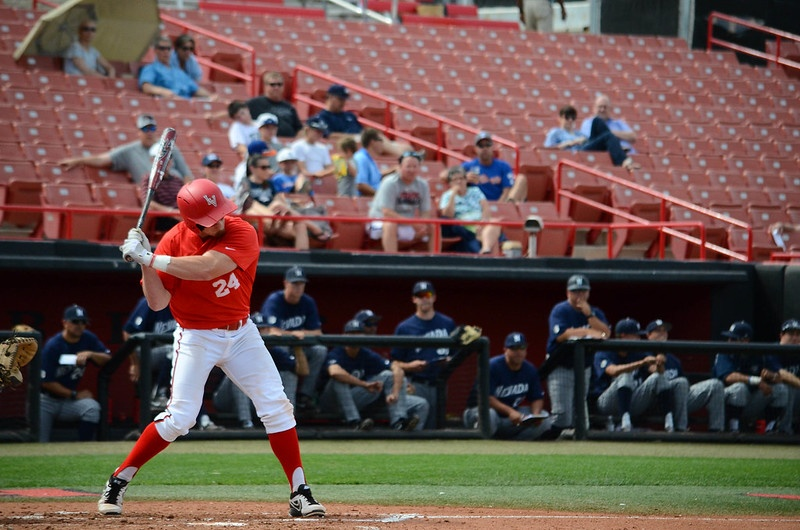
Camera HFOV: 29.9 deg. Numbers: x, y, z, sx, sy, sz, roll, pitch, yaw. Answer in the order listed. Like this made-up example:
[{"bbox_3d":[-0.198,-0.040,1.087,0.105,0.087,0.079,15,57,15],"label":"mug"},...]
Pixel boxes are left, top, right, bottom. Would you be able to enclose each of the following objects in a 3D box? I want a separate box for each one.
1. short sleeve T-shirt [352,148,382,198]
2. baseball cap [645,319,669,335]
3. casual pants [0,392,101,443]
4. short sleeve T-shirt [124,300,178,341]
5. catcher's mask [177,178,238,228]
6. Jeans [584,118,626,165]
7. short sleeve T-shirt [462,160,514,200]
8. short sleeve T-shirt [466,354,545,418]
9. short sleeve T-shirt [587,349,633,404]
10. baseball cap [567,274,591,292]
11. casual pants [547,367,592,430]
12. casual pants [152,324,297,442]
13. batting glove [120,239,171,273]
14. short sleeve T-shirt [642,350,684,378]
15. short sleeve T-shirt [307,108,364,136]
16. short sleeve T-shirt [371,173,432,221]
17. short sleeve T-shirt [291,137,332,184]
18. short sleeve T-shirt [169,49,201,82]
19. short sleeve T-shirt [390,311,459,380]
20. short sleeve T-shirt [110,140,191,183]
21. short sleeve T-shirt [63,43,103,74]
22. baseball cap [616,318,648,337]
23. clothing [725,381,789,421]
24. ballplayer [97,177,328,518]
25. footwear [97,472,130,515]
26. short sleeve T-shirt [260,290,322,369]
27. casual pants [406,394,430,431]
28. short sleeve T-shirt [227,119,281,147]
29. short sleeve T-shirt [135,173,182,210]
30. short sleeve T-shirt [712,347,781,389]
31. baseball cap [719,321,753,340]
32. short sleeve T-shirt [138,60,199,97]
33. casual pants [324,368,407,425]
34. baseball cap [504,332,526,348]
[{"bbox_3d":[-0.500,-1.358,22.519,0.366,0.519,0.631,-6,32,0],"label":"short sleeve T-shirt"},{"bbox_3d":[3.681,0.871,21.380,0.336,0.212,0.362,5,12,17],"label":"baseball cap"},{"bbox_3d":[-4.474,2.015,20.326,0.877,0.759,0.318,-5,12,-2],"label":"casual pants"},{"bbox_3d":[-3.267,0.739,19.956,0.694,0.491,0.242,0,1,-35],"label":"short sleeve T-shirt"},{"bbox_3d":[-2.170,-0.763,17.157,0.615,0.411,0.812,-31,21,-17],"label":"catcher's mask"},{"bbox_3d":[3.416,-2.030,25.134,0.712,0.758,0.300,-2,0,-4],"label":"Jeans"},{"bbox_3d":[1.361,-1.270,23.070,0.799,0.709,0.402,3,33,17],"label":"short sleeve T-shirt"},{"bbox_3d":[1.708,1.594,20.625,0.489,0.749,1.072,-9,3,-42],"label":"short sleeve T-shirt"},{"bbox_3d":[2.859,1.447,20.238,0.401,0.645,0.487,12,19,-41],"label":"short sleeve T-shirt"},{"bbox_3d":[2.494,0.245,20.919,0.284,0.197,0.268,2,12,4],"label":"baseball cap"},{"bbox_3d":[2.200,1.775,20.370,0.358,0.820,0.159,2,13,6],"label":"casual pants"},{"bbox_3d":[-2.149,1.448,18.157,1.650,1.404,0.652,-4,-10,-20],"label":"casual pants"},{"bbox_3d":[-2.861,-0.059,16.929,0.522,0.308,0.192,19,-42,-7],"label":"batting glove"},{"bbox_3d":[3.620,1.298,20.391,0.631,0.435,0.306,9,0,-3],"label":"short sleeve T-shirt"},{"bbox_3d":[-0.937,-2.232,23.630,0.892,0.369,0.328,-7,15,-33],"label":"short sleeve T-shirt"},{"bbox_3d":[0.213,-0.966,21.880,0.891,0.677,0.479,1,7,29],"label":"short sleeve T-shirt"},{"bbox_3d":[-1.347,-1.549,22.908,0.747,0.631,0.389,6,-24,7],"label":"short sleeve T-shirt"},{"bbox_3d":[-3.553,-3.258,24.807,0.607,0.526,0.318,-6,8,-33],"label":"short sleeve T-shirt"},{"bbox_3d":[0.377,1.068,20.451,1.136,0.943,0.531,-1,3,-19],"label":"short sleeve T-shirt"},{"bbox_3d":[-3.513,-1.426,21.087,1.015,0.880,0.371,7,-10,-4],"label":"short sleeve T-shirt"},{"bbox_3d":[-5.166,-3.371,24.637,0.724,0.515,0.387,-7,15,-32],"label":"short sleeve T-shirt"},{"bbox_3d":[3.257,0.853,21.116,0.366,0.197,0.251,4,16,2],"label":"baseball cap"},{"bbox_3d":[4.821,1.790,20.266,0.591,0.307,0.631,11,-7,-37],"label":"clothing"},{"bbox_3d":[-2.157,0.946,17.125,2.605,3.656,1.217,0,-1,-5],"label":"ballplayer"},{"bbox_3d":[-3.222,2.566,16.954,0.326,0.432,0.236,-3,13,-17],"label":"footwear"},{"bbox_3d":[-1.496,0.938,20.739,0.830,1.066,0.611,3,4,-27],"label":"short sleeve T-shirt"},{"bbox_3d":[0.244,1.962,20.218,0.318,0.469,0.114,0,13,-2],"label":"casual pants"},{"bbox_3d":[-2.197,-1.984,22.803,0.613,0.542,0.224,2,-6,6],"label":"short sleeve T-shirt"},{"bbox_3d":[-3.420,-1.025,21.565,0.888,0.578,0.481,3,0,-21],"label":"short sleeve T-shirt"},{"bbox_3d":[4.783,1.397,20.750,0.936,0.373,1.168,-1,-3,29],"label":"short sleeve T-shirt"},{"bbox_3d":[4.749,0.923,21.205,0.406,0.221,0.270,6,5,2],"label":"baseball cap"},{"bbox_3d":[-3.773,-3.161,24.815,0.857,0.438,0.984,4,-3,-17],"label":"short sleeve T-shirt"},{"bbox_3d":[-0.470,1.762,20.291,0.713,0.904,0.931,17,-28,-38],"label":"casual pants"},{"bbox_3d":[1.591,1.020,20.480,0.274,0.195,0.250,2,12,5],"label":"baseball cap"}]
